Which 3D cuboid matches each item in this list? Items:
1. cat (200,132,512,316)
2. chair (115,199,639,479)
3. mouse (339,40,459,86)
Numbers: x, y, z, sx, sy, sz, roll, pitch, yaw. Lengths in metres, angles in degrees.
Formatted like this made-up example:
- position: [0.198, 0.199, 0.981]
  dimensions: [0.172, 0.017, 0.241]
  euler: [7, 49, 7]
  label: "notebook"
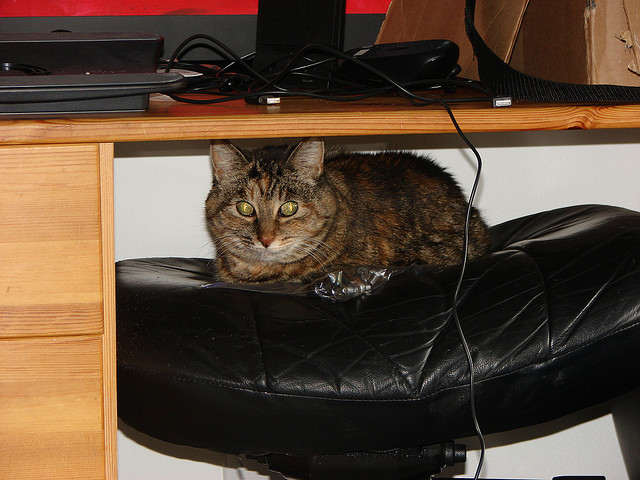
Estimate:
- position: [0.068, -0.084, 1.571]
  dimensions: [0.631, 0.283, 0.476]
  euler: [-18, 20, -41]
  label: "cat"
- position: [0.097, 0.185, 1.329]
  dimensions: [1.034, 0.584, 0.696]
  euler: [-1, 16, -5]
  label: "chair"
- position: [0.163, -0.355, 1.314]
  dimensions: [0.279, 0.057, 0.125]
  euler: [4, 23, 18]
  label: "mouse"
